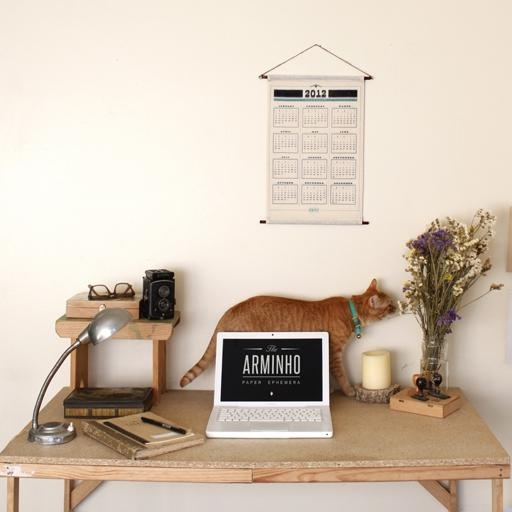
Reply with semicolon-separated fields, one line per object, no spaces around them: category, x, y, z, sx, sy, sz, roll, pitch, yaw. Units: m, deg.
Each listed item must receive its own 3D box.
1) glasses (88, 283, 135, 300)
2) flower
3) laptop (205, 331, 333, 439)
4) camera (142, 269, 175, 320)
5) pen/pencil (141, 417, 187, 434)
glasses;-0.523;0.124;2.021;0.159;0.053;0.171;-1;1;-12
flower;0.688;0.113;1.974;0.358;0.556;0.263;0;2;13
laptop;0.057;0.372;1.802;0.369;0.188;0.294;0;12;2
camera;-0.339;0.133;1.965;0.119;0.148;0.122;6;7;38
pen/pencil;-0.286;0.511;1.699;0.020;0.017;0.163;-12;10;-37
